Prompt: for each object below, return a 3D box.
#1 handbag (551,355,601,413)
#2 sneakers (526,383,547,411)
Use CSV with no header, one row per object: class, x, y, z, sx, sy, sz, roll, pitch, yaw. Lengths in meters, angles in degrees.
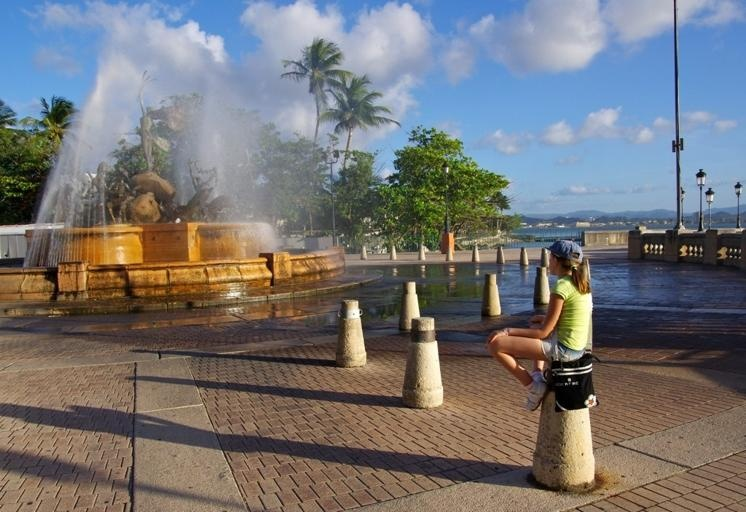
handbag,2.017,1.286,5.381,0.468,0.547,0.224,-2,4,-4
sneakers,1.723,1.487,5.613,0.153,0.349,0.122,8,34,1
